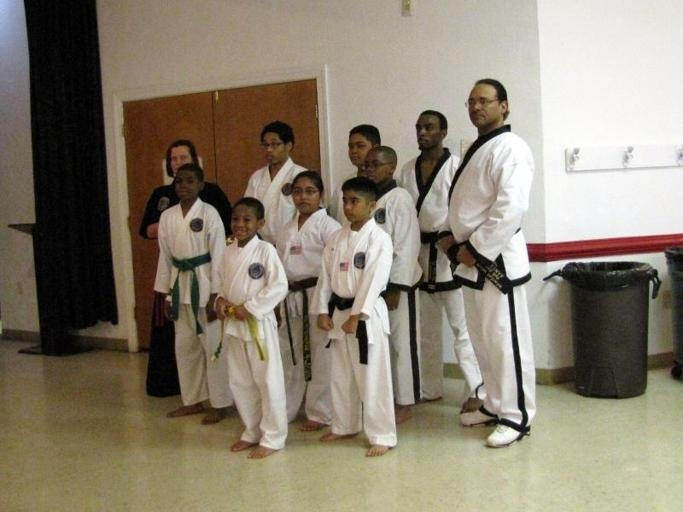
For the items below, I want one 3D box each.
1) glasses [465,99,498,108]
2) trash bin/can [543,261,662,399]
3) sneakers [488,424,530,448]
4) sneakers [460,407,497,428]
[{"bbox_3d":[0.826,-0.904,3.561,0.150,0.045,0.038,1,10,20],"label":"glasses"},{"bbox_3d":[1.740,0.518,4.440,0.951,1.098,0.778,-1,-1,-6],"label":"trash bin/can"},{"bbox_3d":[0.996,1.049,3.597,0.268,0.129,0.102,-8,-5,-36],"label":"sneakers"},{"bbox_3d":[0.855,1.020,3.816,0.225,0.108,0.101,3,-1,10],"label":"sneakers"}]
